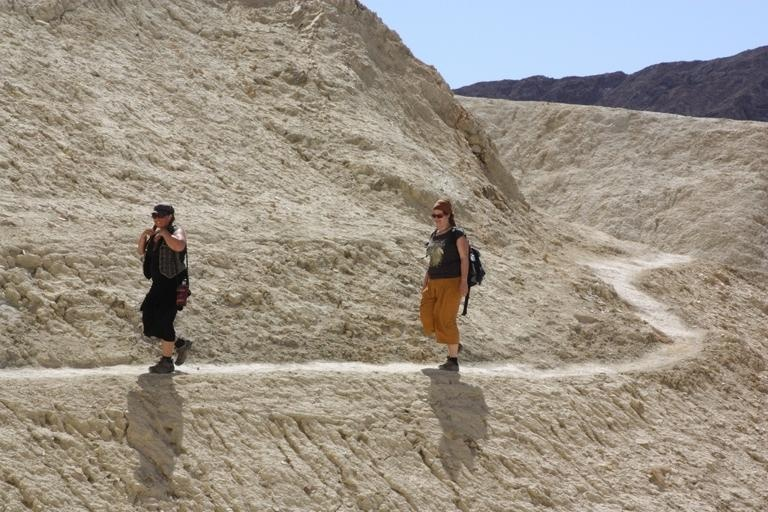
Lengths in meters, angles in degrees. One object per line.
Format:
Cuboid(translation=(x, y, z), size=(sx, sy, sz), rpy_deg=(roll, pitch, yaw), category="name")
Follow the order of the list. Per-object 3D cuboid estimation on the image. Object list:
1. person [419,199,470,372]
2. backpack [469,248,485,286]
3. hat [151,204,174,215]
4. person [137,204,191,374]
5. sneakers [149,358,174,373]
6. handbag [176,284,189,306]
Cuboid(translation=(1.144, 0.460, 18.516), size=(0.862, 2.851, 1.255), rpy_deg=(0, -11, -2), category="person")
Cuboid(translation=(1.714, 0.202, 18.481), size=(0.253, 0.705, 0.374), rpy_deg=(-1, -11, 4), category="backpack")
Cuboid(translation=(-3.808, -0.801, 17.462), size=(0.346, 0.219, 0.186), rpy_deg=(5, -11, -26), category="hat")
Cuboid(translation=(-3.840, 0.601, 17.521), size=(0.827, 2.887, 0.875), rpy_deg=(4, -12, -20), category="person")
Cuboid(translation=(-3.848, 1.950, 17.665), size=(0.460, 0.198, 0.232), rpy_deg=(4, -2, -10), category="sneakers")
Cuboid(translation=(-3.472, 0.696, 17.530), size=(0.291, 0.316, 0.135), rpy_deg=(4, -8, 1), category="handbag")
